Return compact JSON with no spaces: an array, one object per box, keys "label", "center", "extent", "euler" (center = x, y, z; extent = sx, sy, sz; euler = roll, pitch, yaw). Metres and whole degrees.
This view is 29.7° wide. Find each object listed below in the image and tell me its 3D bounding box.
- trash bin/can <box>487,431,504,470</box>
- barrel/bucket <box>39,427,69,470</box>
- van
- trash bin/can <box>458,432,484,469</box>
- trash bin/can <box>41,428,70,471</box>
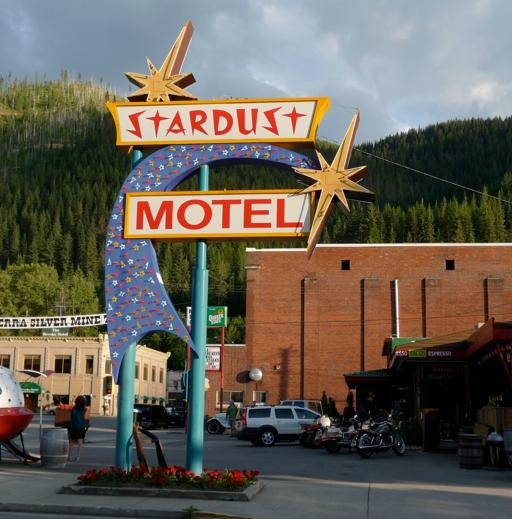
[{"label":"trash bin/can","center":[6.230,4.937,25.061],"extent":[0.579,0.895,0.838],"euler":[-2,10,5]},{"label":"barrel/bucket","center":[-5.041,4.696,23.875],"extent":[0.696,0.980,0.529],"euler":[0,-9,-2]},{"label":"van","center":[0.689,5.858,34.489],"extent":[2.459,1.054,1.391],"euler":[-4,-5,-12]},{"label":"trash bin/can","center":[5.596,5.033,25.247],"extent":[0.737,0.885,0.716],"euler":[5,-7,-33]},{"label":"trash bin/can","center":[-5.082,4.680,24.125],"extent":[0.671,1.054,0.700],"euler":[1,6,-12]}]
